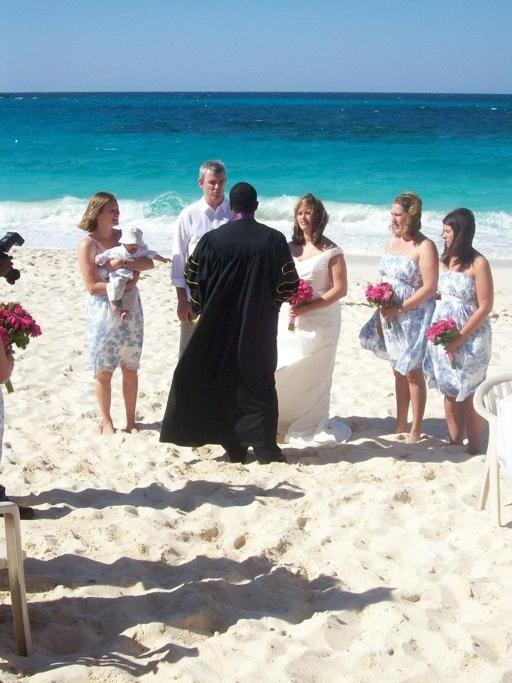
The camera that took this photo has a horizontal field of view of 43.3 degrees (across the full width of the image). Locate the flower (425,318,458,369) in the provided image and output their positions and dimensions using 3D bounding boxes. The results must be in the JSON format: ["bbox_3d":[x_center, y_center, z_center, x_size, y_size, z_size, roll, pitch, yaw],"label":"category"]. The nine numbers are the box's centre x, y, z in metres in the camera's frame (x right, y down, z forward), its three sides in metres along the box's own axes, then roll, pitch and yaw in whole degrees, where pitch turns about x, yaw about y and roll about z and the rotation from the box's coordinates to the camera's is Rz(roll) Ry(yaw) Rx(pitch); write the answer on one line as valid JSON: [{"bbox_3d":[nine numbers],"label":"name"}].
[{"bbox_3d":[1.271,-0.045,4.397,0.176,0.214,0.223,8,13,33],"label":"flower"}]

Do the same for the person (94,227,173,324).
[{"bbox_3d":[-1.004,-0.539,4.833,0.644,0.689,0.269,-28,64,-33],"label":"person"}]

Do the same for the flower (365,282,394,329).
[{"bbox_3d":[0.912,-0.324,4.786,0.203,0.219,0.179,3,12,16],"label":"flower"}]

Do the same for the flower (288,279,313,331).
[{"bbox_3d":[0.318,-0.245,4.686,0.174,0.404,0.306,1,11,3],"label":"flower"}]

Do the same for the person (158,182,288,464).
[{"bbox_3d":[-0.183,-0.074,4.283,0.897,1.901,0.233,0,12,-1],"label":"person"}]
